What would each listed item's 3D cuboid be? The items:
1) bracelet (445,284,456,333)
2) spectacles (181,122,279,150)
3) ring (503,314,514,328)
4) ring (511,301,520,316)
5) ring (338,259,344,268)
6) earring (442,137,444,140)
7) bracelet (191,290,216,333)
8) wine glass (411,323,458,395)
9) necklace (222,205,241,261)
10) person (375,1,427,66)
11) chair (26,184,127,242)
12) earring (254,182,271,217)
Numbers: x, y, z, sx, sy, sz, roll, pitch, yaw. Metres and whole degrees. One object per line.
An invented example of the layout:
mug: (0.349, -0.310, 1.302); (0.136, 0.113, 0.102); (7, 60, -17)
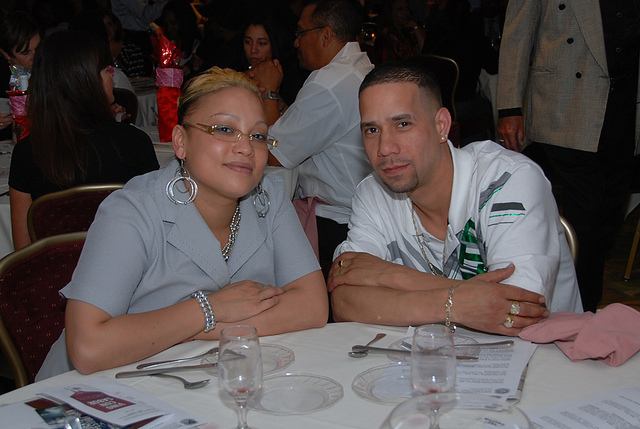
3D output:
bracelet: (0.448, 0.337, 1.550); (0.033, 0.139, 0.103); (3, -2, 12)
spectacles: (-0.365, -0.296, 1.642); (0.322, 0.105, 0.116); (-2, 12, -5)
ring: (0.630, 0.362, 1.476); (0.033, 0.042, 0.013); (-7, 13, -25)
ring: (0.660, 0.322, 1.494); (0.022, 0.041, 0.038); (7, 15, 36)
ring: (0.085, 0.208, 1.859); (0.006, 0.025, 0.026); (17, -29, -39)
earring: (0.524, -0.330, 1.894); (0.009, 0.009, 0.002); (2, -8, -2)
bracelet: (-0.389, 0.332, 1.501); (0.035, 0.121, 0.096); (-9, -27, -12)
wine glass: (0.278, 0.386, 1.090); (0.106, 0.192, 0.127); (2, 12, 14)
necklace: (-0.349, 0.079, 1.747); (0.054, 0.185, 0.028); (17, -18, 6)
person: (1.046, -2.441, 5.794); (0.588, 0.908, 1.148); (2, 12, 13)
chair: (-1.025, -0.004, 1.860); (0.198, 0.349, 0.221); (3, 26, -9)
earring: (-0.242, -0.060, 1.841); (0.060, 0.130, 0.110); (0, 12, 5)
